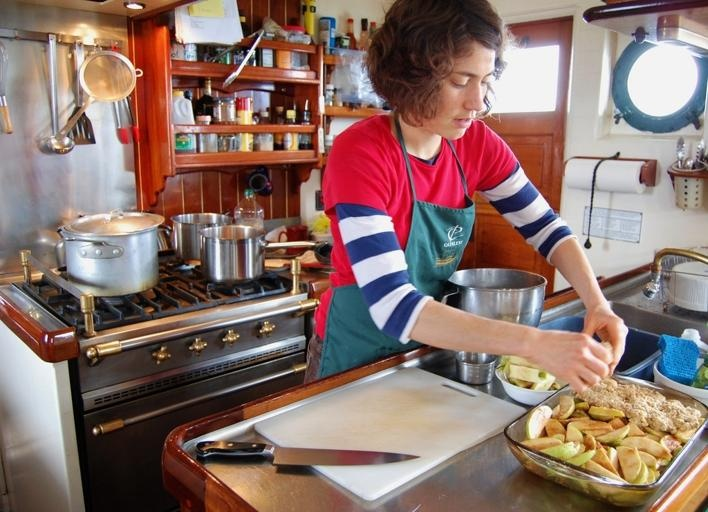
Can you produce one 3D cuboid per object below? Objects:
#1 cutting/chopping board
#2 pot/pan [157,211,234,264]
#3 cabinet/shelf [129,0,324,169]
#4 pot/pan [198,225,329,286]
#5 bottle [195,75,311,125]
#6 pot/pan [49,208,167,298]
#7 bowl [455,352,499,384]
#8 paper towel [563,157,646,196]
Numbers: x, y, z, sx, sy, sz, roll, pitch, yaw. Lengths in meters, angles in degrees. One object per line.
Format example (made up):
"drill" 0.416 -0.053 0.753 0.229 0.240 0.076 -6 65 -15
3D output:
"cutting/chopping board" 0.094 0.391 1.213 0.510 0.074 0.349 -11 14 -39
"pot/pan" -0.847 -0.066 2.706 0.440 0.226 0.314 0 10 -10
"cabinet/shelf" -0.700 -0.901 2.738 1.129 0.891 0.336 -15 23 -42
"pot/pan" -0.339 -0.006 2.309 0.647 0.164 0.233 2 4 0
"bottle" -0.594 -0.888 2.933 0.471 0.139 0.088 -3 13 -37
"pot/pan" -0.961 -0.021 2.082 0.405 0.268 0.411 -3 19 -15
"bowl" 0.323 0.299 1.427 0.122 0.058 0.107 0 9 1
"paper towel" 1.588 -0.508 3.245 0.255 0.200 0.540 -3 11 -23
